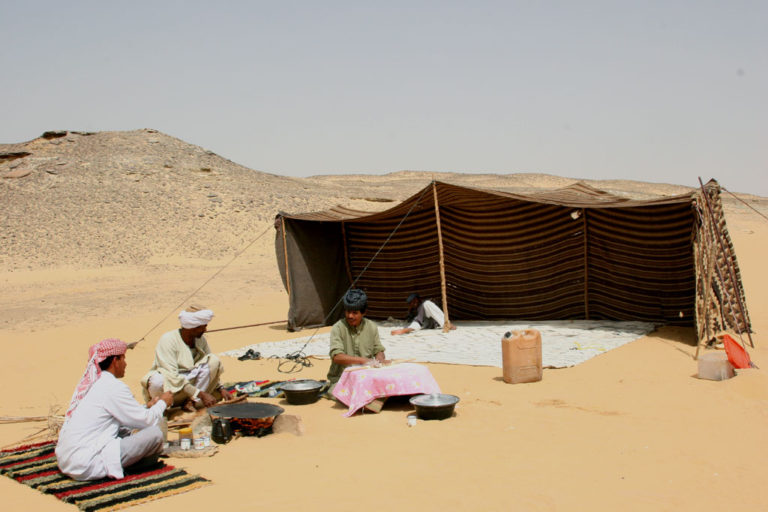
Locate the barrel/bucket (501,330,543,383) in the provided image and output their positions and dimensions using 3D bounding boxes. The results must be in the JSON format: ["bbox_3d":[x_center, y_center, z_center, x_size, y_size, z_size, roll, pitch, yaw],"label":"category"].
[{"bbox_3d":[1.894,1.376,10.692,0.596,0.699,0.370,-7,10,5],"label":"barrel/bucket"}]

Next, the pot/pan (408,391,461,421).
[{"bbox_3d":[0.641,1.855,9.612,0.598,0.273,0.356,-5,7,-1],"label":"pot/pan"}]

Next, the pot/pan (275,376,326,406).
[{"bbox_3d":[-1.052,1.816,10.440,0.591,0.257,0.391,-7,7,-22],"label":"pot/pan"}]

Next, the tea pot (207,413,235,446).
[{"bbox_3d":[-1.943,2.065,9.242,0.258,0.285,0.245,-7,8,1],"label":"tea pot"}]

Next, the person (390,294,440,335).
[{"bbox_3d":[0.656,1.076,14.699,0.980,0.643,1.122,-5,7,2],"label":"person"}]

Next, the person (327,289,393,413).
[{"bbox_3d":[-0.438,1.184,10.245,0.842,1.507,0.889,-9,9,-1],"label":"person"}]
